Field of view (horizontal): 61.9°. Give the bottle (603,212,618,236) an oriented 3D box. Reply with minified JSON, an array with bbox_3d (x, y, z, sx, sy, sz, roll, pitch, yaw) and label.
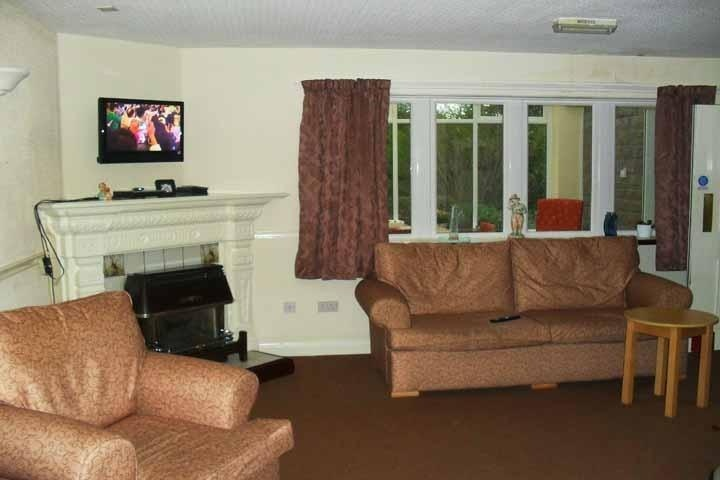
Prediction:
[{"bbox_3d":[2.471,-0.160,5.947,0.115,0.220,0.299,0,8,19],"label":"bottle"}]

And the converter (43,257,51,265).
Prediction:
[{"bbox_3d":[-2.426,0.161,4.659,0.058,0.042,0.031,5,11,18],"label":"converter"}]

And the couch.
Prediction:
[{"bbox_3d":[1.288,0.606,5.176,2.559,1.172,0.839,-3,8,-5],"label":"couch"}]

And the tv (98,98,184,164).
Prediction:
[{"bbox_3d":[-1.897,-0.943,5.143,0.624,0.433,0.086,-5,12,-38],"label":"tv"}]

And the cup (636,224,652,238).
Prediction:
[{"bbox_3d":[2.889,-0.091,6.119,0.121,0.109,0.146,0,-3,-4],"label":"cup"}]

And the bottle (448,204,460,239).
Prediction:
[{"bbox_3d":[0.931,-0.172,5.992,0.108,0.334,0.289,-2,8,8],"label":"bottle"}]
